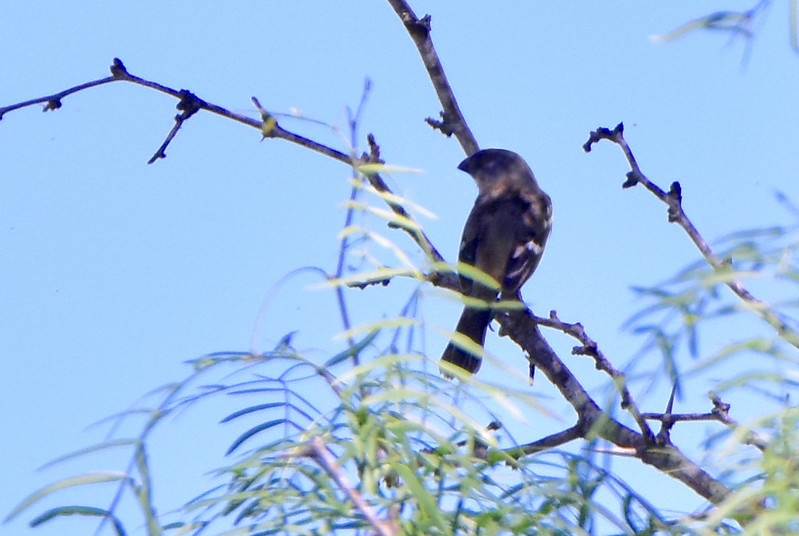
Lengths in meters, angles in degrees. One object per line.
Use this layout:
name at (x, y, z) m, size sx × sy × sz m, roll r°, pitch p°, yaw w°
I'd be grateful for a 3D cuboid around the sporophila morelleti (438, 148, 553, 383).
sporophila morelleti at (0.303, -0.053, 3.649) m, size 0.265 × 0.883 × 0.355 m, roll -3°, pitch -29°, yaw 28°
